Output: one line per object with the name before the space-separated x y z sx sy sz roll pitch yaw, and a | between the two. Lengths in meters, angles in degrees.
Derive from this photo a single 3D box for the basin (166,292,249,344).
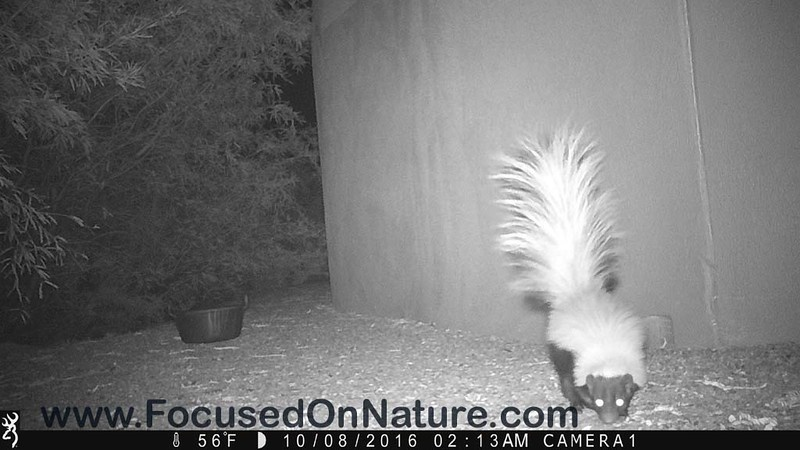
basin | -2.692 1.322 8.761 1.196 0.530 1.050 -1 7 3
